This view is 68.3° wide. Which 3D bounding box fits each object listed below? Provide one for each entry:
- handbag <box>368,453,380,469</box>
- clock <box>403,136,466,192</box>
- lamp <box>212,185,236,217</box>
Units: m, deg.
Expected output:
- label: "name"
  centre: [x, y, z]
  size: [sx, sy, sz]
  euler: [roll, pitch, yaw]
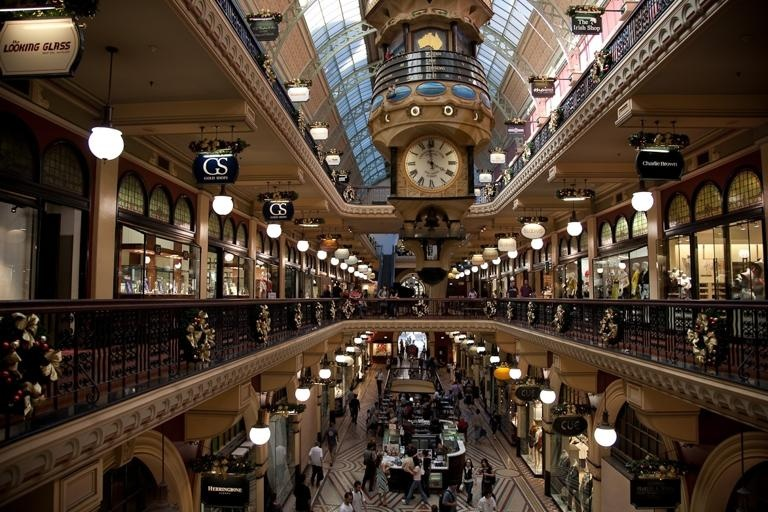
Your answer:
- label: "handbag"
  centre: [-0.279, 6.963, 19.176]
  size: [0.377, 0.563, 0.633]
  euler: [-2, -9, 16]
- label: "clock"
  centre: [1.438, -2.607, 15.936]
  size: [1.488, 1.560, 0.153]
  euler: [1, -2, 0]
- label: "lamp"
  centre: [-3.494, -1.271, 12.326]
  size: [0.334, 0.616, 0.605]
  euler: [-1, -9, 7]
